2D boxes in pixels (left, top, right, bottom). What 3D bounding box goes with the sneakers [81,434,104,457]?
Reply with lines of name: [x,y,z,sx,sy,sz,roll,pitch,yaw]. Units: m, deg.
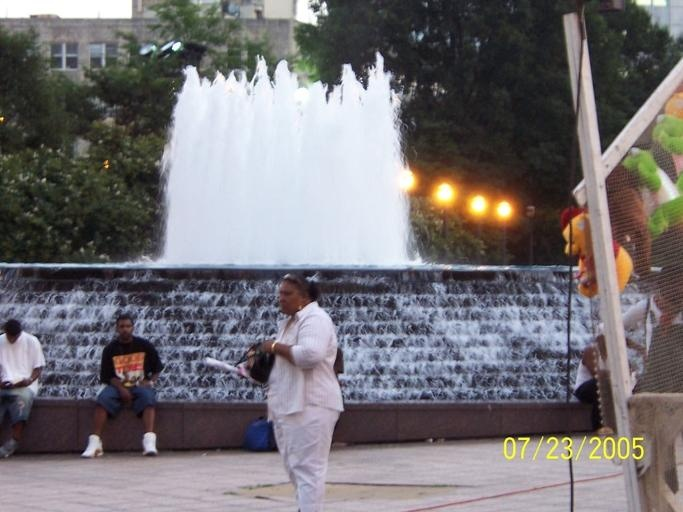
sneakers: [-3.503,2.684,15.815,0.193,0.324,0.341,-4,-9,24]

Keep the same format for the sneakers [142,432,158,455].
sneakers: [-2.731,2.671,15.901,0.206,0.327,0.425,1,-9,-11]

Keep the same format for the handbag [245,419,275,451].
handbag: [-1.225,2.569,16.170,0.555,0.550,0.318,-7,-14,39]

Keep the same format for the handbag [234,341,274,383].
handbag: [-0.935,1.126,11.995,0.276,0.348,0.511,1,-1,-15]

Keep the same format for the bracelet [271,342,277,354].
bracelet: [-0.702,0.954,11.685,0.031,0.096,0.067,4,-2,12]
